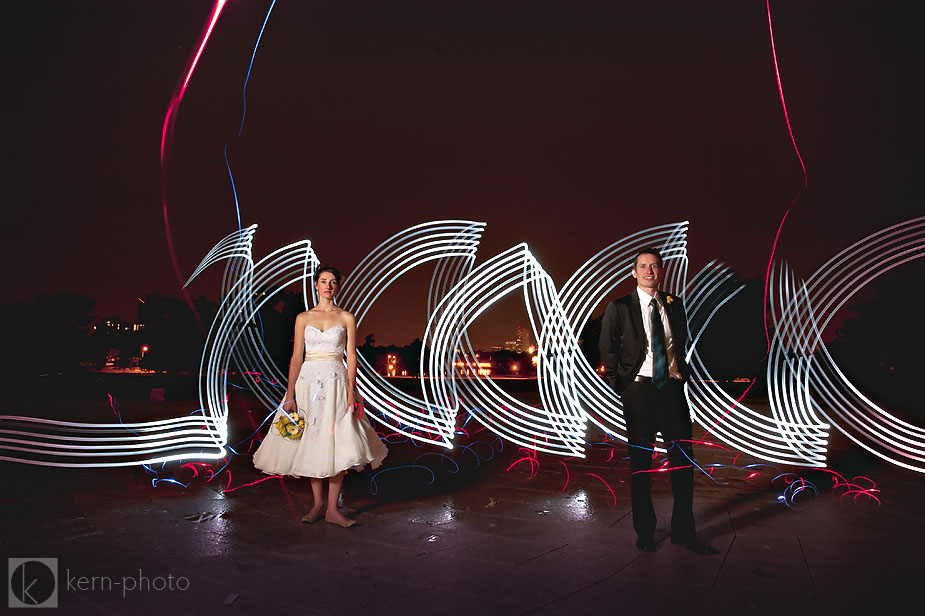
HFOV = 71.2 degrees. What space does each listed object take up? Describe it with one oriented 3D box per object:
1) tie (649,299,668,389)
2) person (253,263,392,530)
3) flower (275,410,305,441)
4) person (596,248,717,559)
[{"bbox_3d":[2.092,0.436,6.918,0.197,1.062,0.098,-10,25,10],"label":"tie"},{"bbox_3d":[-1.661,1.002,7.668,1.350,2.972,0.753,2,6,21],"label":"person"},{"bbox_3d":[-2.034,1.420,7.657,0.369,0.331,0.137,2,6,16],"label":"flower"},{"bbox_3d":[2.039,0.971,6.932,1.070,3.169,0.690,2,6,15],"label":"person"}]
